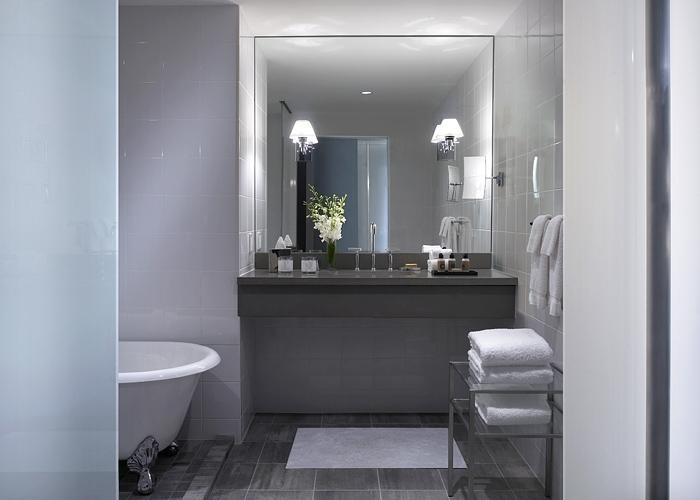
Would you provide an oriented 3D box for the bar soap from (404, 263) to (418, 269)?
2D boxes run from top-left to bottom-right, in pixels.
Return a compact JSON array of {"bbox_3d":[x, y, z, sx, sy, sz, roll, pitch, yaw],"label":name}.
[{"bbox_3d":[0.445,0.113,3.788,0.093,0.033,0.094,2,6,5],"label":"bar soap"}]

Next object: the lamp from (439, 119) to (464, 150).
[{"bbox_3d":[0.723,-0.850,3.834,0.147,0.174,0.152,3,-8,-12],"label":"lamp"}]

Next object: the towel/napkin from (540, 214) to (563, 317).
[{"bbox_3d":[0.987,0.075,2.560,0.109,0.488,0.125,-4,8,-39],"label":"towel/napkin"}]

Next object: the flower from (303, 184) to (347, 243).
[{"bbox_3d":[-0.144,-0.204,3.871,0.274,0.379,0.309,-7,-1,10],"label":"flower"}]

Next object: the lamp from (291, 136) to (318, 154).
[{"bbox_3d":[-0.323,-0.758,3.846,0.131,0.103,0.131,1,5,-1],"label":"lamp"}]

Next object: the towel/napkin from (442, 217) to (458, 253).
[{"bbox_3d":[0.718,-0.094,3.831,0.143,0.250,0.071,-1,-21,15],"label":"towel/napkin"}]

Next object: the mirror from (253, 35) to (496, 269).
[{"bbox_3d":[0.109,-0.613,3.813,2.072,2.211,0.027,-3,9,-11],"label":"mirror"}]

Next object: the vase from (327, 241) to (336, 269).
[{"bbox_3d":[-0.128,0.023,3.792,0.056,0.196,0.043,0,6,-9],"label":"vase"}]

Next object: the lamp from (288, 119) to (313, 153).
[{"bbox_3d":[-0.333,-0.829,3.795,0.202,0.225,0.200,-9,13,-37],"label":"lamp"}]
